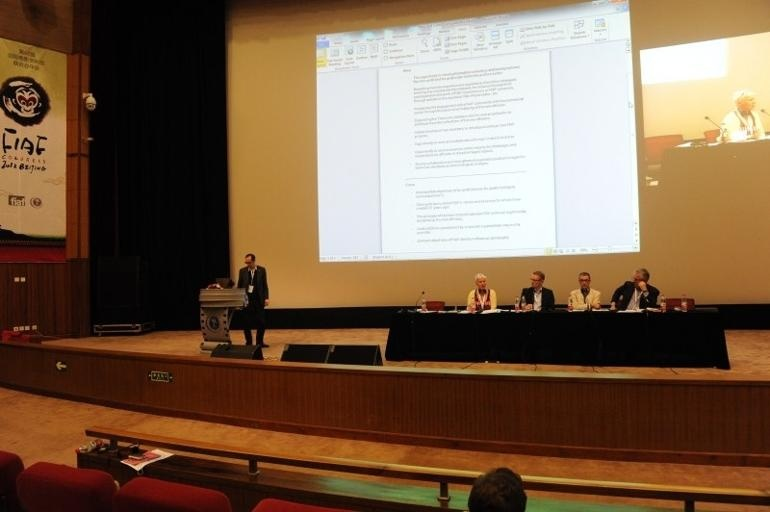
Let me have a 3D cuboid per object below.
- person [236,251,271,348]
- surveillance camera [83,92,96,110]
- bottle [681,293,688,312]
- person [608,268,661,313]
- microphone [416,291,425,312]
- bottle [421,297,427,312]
[{"bbox_3d":[-2.269,0.753,10.966,0.473,1.333,0.815,-2,1,-13],"label":"person"},{"bbox_3d":[-5.806,-3.066,12.476,0.242,0.357,0.322,-2,1,-25],"label":"surveillance camera"},{"bbox_3d":[4.276,0.668,9.073,0.080,0.179,0.509,-1,1,25],"label":"bottle"},{"bbox_3d":[3.942,0.527,10.050,0.562,0.630,1.417,-2,1,11],"label":"person"},{"bbox_3d":[0.636,0.803,11.453,0.218,0.337,0.238,4,-16,-8],"label":"microphone"},{"bbox_3d":[0.602,0.748,9.714,0.062,0.135,0.146,-2,1,8],"label":"bottle"}]
